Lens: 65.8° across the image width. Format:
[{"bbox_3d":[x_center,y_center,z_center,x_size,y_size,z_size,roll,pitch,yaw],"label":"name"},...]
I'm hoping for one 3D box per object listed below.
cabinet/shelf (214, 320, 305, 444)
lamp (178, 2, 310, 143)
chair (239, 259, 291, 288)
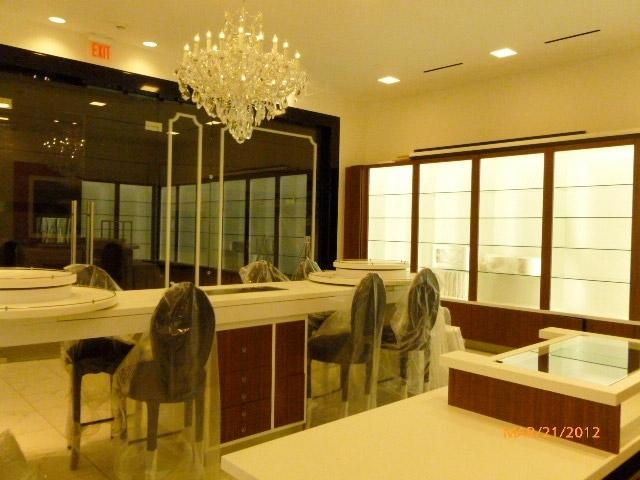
[{"bbox_3d":[-0.349,0.756,2.645,0.683,0.709,0.235,2,-4,-42],"label":"cabinet/shelf"},{"bbox_3d":[-0.593,-1.398,3.740,0.795,1.212,0.812,-3,10,-29],"label":"lamp"},{"bbox_3d":[-0.393,0.245,3.619,0.248,0.109,0.205,10,-6,-43],"label":"chair"}]
